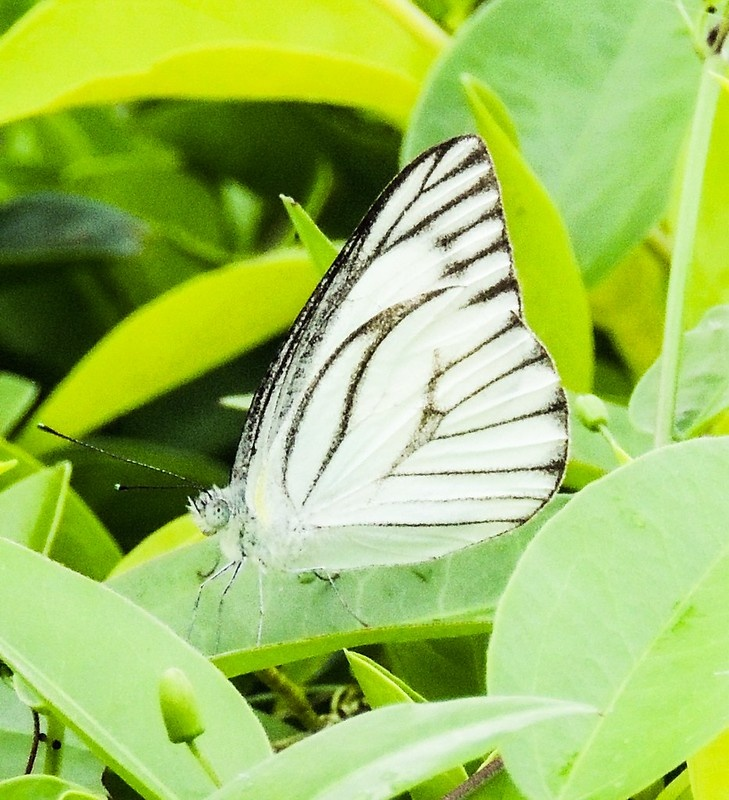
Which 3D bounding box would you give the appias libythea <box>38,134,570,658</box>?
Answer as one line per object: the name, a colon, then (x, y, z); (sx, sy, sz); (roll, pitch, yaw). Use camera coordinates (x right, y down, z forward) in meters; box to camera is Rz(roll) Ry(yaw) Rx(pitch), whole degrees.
appias libythea: (-0.043, 0.017, 0.822); (0.348, 0.346, 0.299); (-9, 89, -9)
